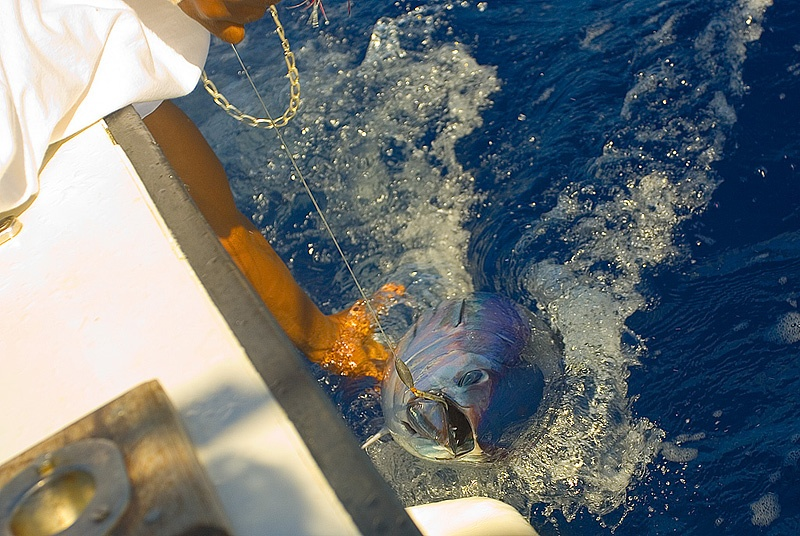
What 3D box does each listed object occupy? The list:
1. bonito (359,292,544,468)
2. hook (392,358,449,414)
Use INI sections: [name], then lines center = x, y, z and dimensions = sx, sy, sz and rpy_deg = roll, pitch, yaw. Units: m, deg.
[bonito]
center = 0.277, 0.357, 3.352
dimensions = 0.408, 0.246, 0.727
rpy_deg = 14, 28, 21
[hook]
center = 0.067, 0.434, 3.109
dimensions = 0.058, 0.052, 0.298
rpy_deg = -15, 52, -38
